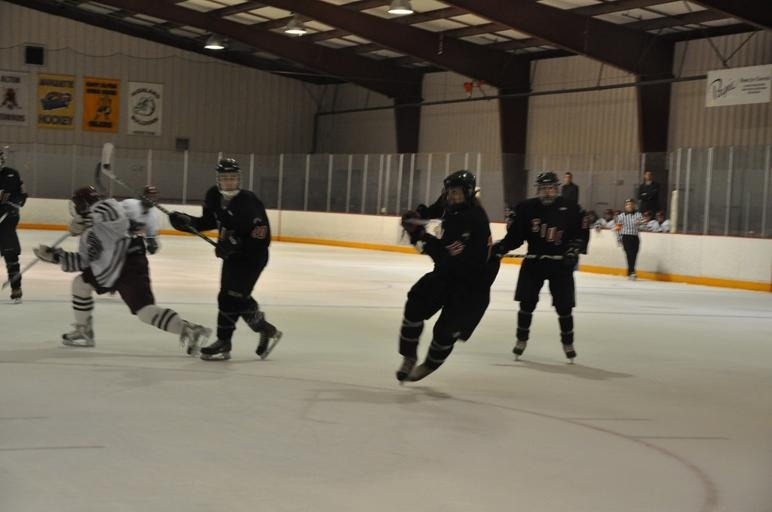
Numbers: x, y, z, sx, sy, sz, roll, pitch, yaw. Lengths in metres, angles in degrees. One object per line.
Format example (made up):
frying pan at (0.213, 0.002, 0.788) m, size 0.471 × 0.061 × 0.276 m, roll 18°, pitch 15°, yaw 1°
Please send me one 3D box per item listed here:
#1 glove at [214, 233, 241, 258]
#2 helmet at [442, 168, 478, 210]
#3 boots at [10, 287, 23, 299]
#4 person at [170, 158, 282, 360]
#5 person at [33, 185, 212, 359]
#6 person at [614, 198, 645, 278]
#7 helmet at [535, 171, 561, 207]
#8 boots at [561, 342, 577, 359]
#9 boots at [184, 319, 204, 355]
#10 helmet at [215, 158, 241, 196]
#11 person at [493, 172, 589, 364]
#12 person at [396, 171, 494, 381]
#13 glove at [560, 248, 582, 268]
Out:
glove at (-1.456, -0.086, 6.175) m, size 0.266 × 0.194 × 0.085 m, roll 5°, pitch 5°, yaw 11°
helmet at (0.577, -0.557, 5.695) m, size 0.383 × 0.279 × 0.277 m, roll -16°, pitch 18°, yaw -31°
boots at (-4.758, 0.487, 8.672) m, size 0.215 × 0.157 × 0.137 m, roll 4°, pitch -4°, yaw -5°
person at (-1.467, 0.038, 6.357) m, size 0.724 × 1.887 × 0.687 m, roll -4°, pitch 10°, yaw -43°
person at (-2.435, 0.125, 6.493) m, size 1.932 × 1.368 × 0.847 m, roll 4°, pitch 0°, yaw 7°
person at (5.520, -0.349, 15.370) m, size 0.494 × 1.830 × 0.621 m, roll 4°, pitch 8°, yaw 11°
helmet at (1.645, -0.697, 6.889) m, size 0.233 × 0.320 × 0.284 m, roll 3°, pitch 7°, yaw 10°
boots at (1.881, 0.989, 6.938) m, size 0.147 × 0.079 × 0.205 m, roll 9°, pitch -6°, yaw -4°
boots at (-1.768, 0.775, 6.219) m, size 0.250 × 0.364 × 0.239 m, roll 0°, pitch 7°, yaw -15°
helmet at (-1.445, -0.716, 6.185) m, size 0.216 × 0.344 × 0.237 m, roll 1°, pitch 7°, yaw -13°
person at (1.611, 0.126, 6.873) m, size 0.784 × 1.919 × 0.350 m, roll 4°, pitch 8°, yaw 12°
person at (0.508, 0.207, 5.662) m, size 0.793 × 1.814 × 0.338 m, roll 3°, pitch 8°, yaw 6°
glove at (1.860, 0.028, 6.778) m, size 0.143 × 0.223 × 0.246 m, roll 5°, pitch 7°, yaw 23°
